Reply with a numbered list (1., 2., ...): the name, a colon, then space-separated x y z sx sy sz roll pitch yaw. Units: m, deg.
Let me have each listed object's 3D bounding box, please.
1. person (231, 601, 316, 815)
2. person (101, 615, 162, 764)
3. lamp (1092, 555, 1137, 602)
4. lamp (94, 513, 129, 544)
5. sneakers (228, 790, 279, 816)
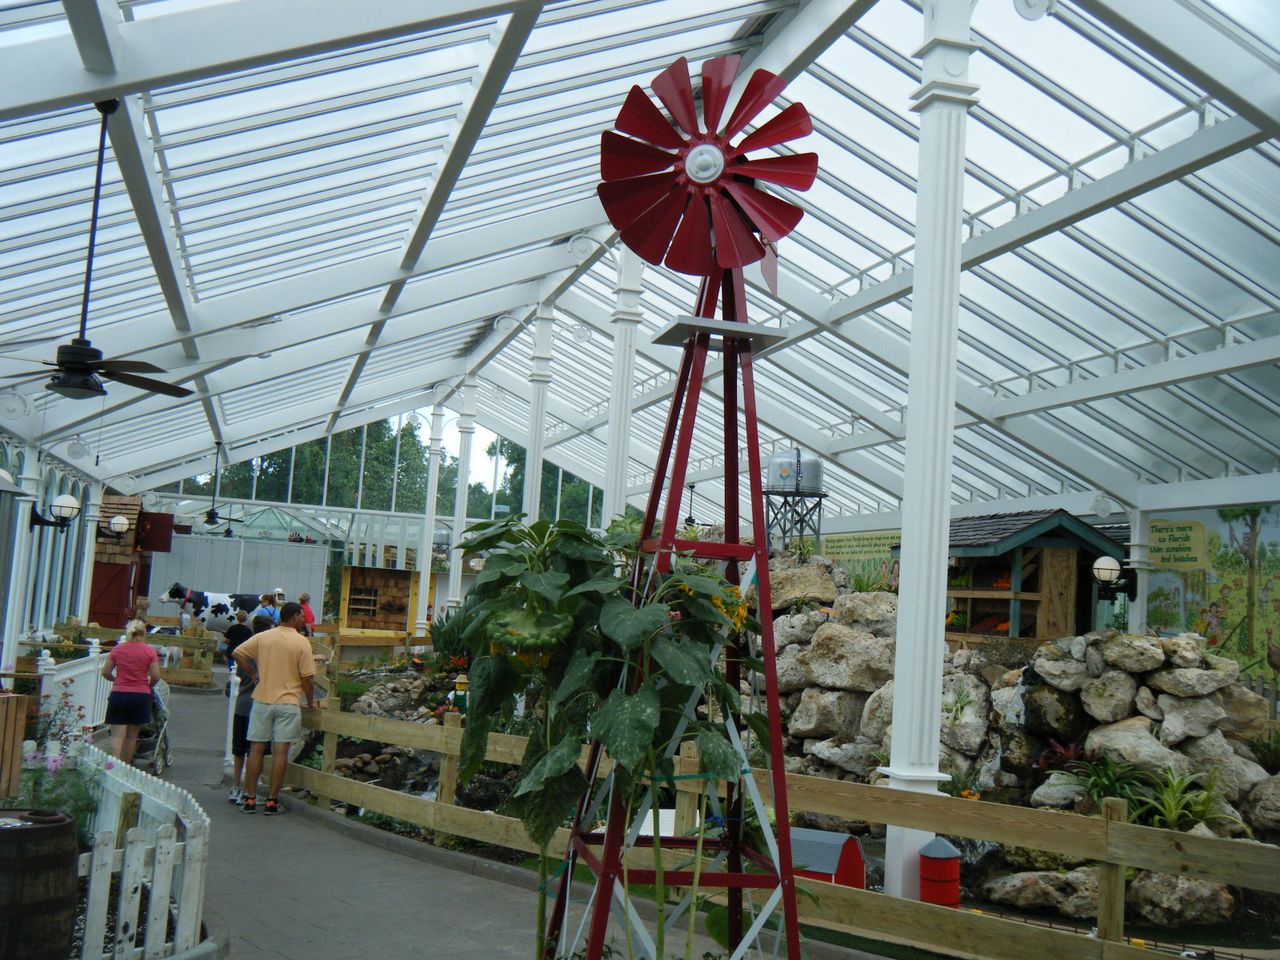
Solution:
1. person: -3.628 2.182 10.276 0.792 1.960 1.230 9 -12 -16
2. person: -5.285 2.169 10.833 0.527 1.478 1.564 11 -12 -23
3. lamp: 7.576 1.517 16.683 0.558 0.732 1.455 -1 -11 28
4. lamp: -12.867 1.201 25.472 0.728 0.590 0.971 9 -18 -39
5. sneakers: -3.767 3.086 10.272 0.244 0.220 0.588 2 -2 -13
